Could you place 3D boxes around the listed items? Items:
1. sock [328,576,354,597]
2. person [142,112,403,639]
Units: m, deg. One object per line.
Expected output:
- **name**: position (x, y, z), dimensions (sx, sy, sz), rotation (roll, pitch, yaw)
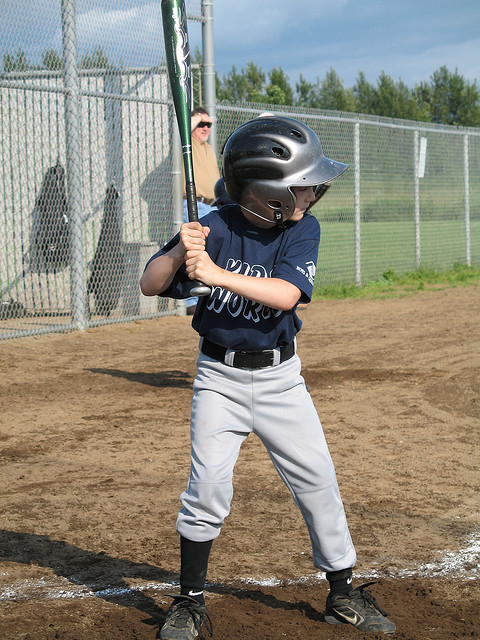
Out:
- **sock**: position (0.290, 0.776, 2.474), dimensions (0.068, 0.056, 0.034), rotation (-1, 5, 4)
- **person**: position (0.060, 0.145, 2.587), dimensions (0.685, 1.504, 0.681), rotation (-2, 5, -4)
